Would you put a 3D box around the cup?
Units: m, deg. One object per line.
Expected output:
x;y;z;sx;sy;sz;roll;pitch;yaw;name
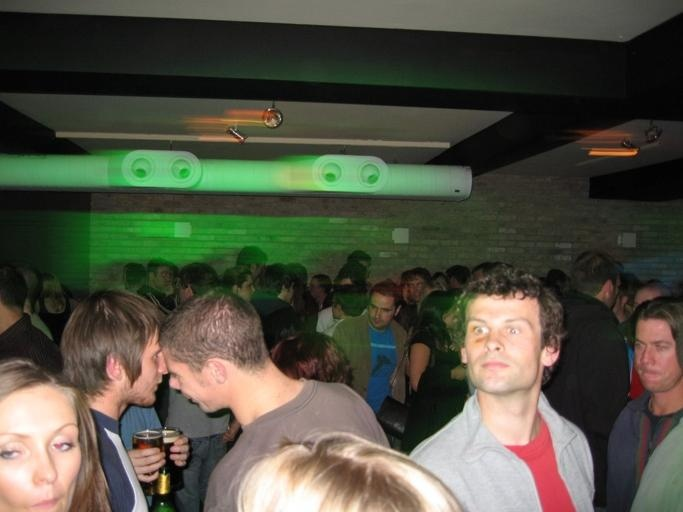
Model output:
-0.819;0.923;2.783;0.305;0.308;0.287;1;-2;0;cup

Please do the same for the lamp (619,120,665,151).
2.703;-1.056;5.427;0.420;0.205;0.243;-13;-1;39;lamp
